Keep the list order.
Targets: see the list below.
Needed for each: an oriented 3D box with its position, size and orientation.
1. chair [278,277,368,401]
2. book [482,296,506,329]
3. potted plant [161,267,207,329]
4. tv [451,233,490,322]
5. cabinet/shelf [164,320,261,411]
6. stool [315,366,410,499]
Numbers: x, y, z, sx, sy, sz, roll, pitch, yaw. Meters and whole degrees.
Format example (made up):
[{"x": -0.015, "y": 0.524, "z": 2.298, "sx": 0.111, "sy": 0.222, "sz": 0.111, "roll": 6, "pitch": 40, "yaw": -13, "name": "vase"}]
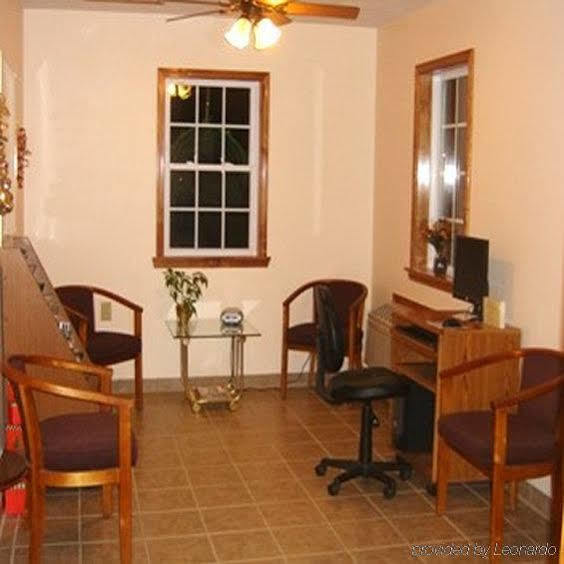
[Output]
[{"x": 0.363, "y": 0.491, "z": 5.107, "sx": 0.591, "sy": 1.071, "sz": 0.580, "roll": 5, "pitch": 6, "yaw": 26, "name": "chair"}, {"x": 1.176, "y": 0.174, "z": 3.397, "sx": 0.049, "sy": 0.166, "sz": 0.147, "roll": -1, "pitch": 3, "yaw": -19, "name": "book"}, {"x": -0.831, "y": 0.128, "z": 4.978, "sx": 0.397, "sy": 0.609, "sz": 0.420, "roll": 1, "pitch": 1, "yaw": -36, "name": "potted plant"}, {"x": 1.110, "y": -0.026, "z": 3.568, "sx": 0.155, "sy": 0.564, "sz": 0.462, "roll": 0, "pitch": 4, "yaw": -6, "name": "tv"}, {"x": -0.587, "y": 0.658, "z": 4.944, "sx": 0.617, "sy": 0.689, "sz": 0.691, "roll": 0, "pitch": 4, "yaw": -10, "name": "cabinet/shelf"}, {"x": 0.465, "y": 0.820, "z": 3.452, "sx": 0.541, "sy": 0.657, "sz": 0.506, "roll": 0, "pitch": 12, "yaw": 8, "name": "stool"}]
